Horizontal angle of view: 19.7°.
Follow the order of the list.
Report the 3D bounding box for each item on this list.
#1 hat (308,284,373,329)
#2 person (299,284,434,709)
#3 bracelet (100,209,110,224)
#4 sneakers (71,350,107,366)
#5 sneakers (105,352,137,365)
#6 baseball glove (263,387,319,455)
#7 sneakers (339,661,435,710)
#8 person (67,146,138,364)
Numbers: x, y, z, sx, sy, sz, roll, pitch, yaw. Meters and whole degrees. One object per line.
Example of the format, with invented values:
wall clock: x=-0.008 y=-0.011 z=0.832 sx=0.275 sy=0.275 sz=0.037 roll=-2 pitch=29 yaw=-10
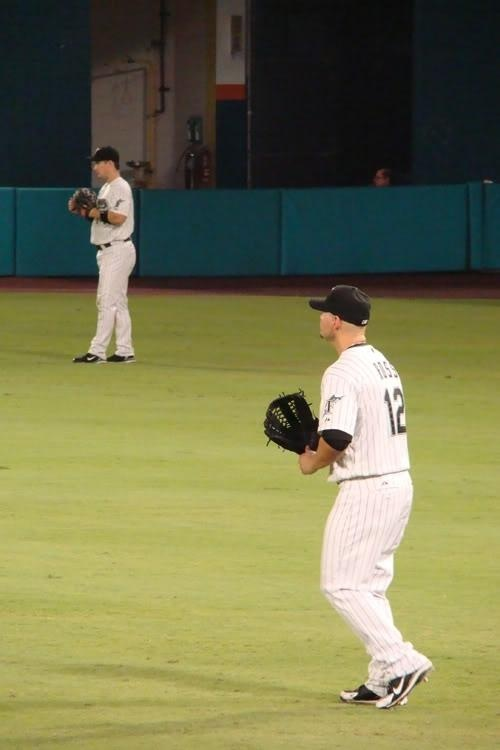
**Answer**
hat: x=0.302 y=-0.231 z=4.800 sx=0.192 sy=0.109 sz=0.122 roll=29 pitch=33 yaw=19
person: x=0.376 y=0.394 z=4.715 sx=0.416 sy=1.377 sz=0.331 roll=0 pitch=1 yaw=0
bracelet: x=-1.221 y=-1.340 z=12.238 sx=0.078 sy=0.112 sz=0.168 roll=0 pitch=0 yaw=-9
sneakers: x=-1.412 y=-0.154 z=12.770 sx=0.309 sy=0.136 sz=0.113 roll=3 pitch=9 yaw=-2
sneakers: x=-1.148 y=-0.146 z=12.946 sx=0.255 sy=0.105 sz=0.091 roll=2 pitch=10 yaw=-4
baseball glove: x=0.149 y=0.170 z=5.057 sx=0.163 sy=0.221 sz=0.081 roll=-11 pitch=-15 yaw=-15
sneakers: x=0.448 y=1.017 z=4.693 sx=0.348 sy=0.146 sz=0.119 roll=-6 pitch=2 yaw=-9
person: x=-1.266 y=-1.032 z=12.538 sx=0.524 sy=1.853 sz=0.795 roll=0 pitch=1 yaw=-7
